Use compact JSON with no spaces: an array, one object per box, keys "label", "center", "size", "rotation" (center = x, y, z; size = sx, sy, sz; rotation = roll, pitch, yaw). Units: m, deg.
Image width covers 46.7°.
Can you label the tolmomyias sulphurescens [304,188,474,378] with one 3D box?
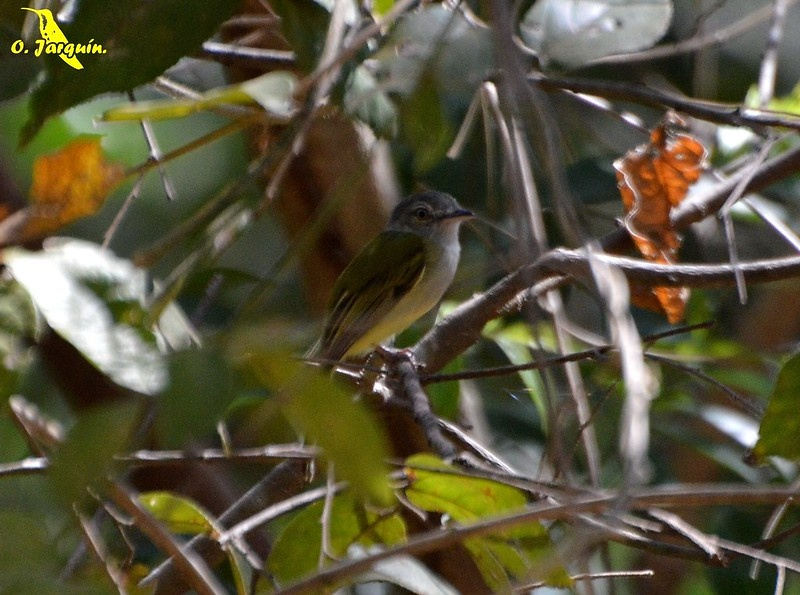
[{"label":"tolmomyias sulphurescens","center":[-0.023,-0.082,3.487],"size":[0.436,0.509,0.736],"rotation":[-1,-87,-16]}]
